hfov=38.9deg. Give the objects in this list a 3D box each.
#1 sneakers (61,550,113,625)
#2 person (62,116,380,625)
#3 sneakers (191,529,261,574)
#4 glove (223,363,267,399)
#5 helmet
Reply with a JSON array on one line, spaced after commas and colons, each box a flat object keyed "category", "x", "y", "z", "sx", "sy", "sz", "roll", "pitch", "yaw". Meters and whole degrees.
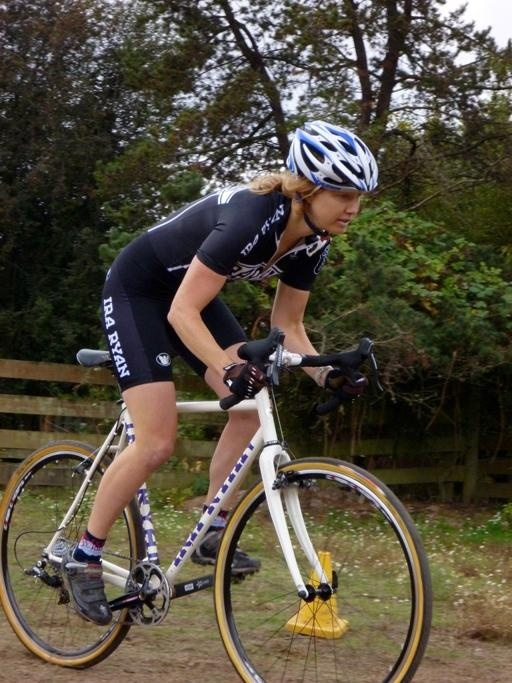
[{"category": "sneakers", "x": -0.632, "y": 0.900, "z": 2.712, "sx": 0.122, "sy": 0.127, "sz": 0.315, "roll": 7, "pitch": 25, "yaw": -48}, {"category": "person", "x": -0.091, "y": 0.118, "z": 2.671, "sx": 1.172, "sy": 1.600, "sz": 0.798, "roll": 1, "pitch": 4, "yaw": 9}, {"category": "sneakers", "x": -0.109, "y": 0.757, "z": 2.638, "sx": 0.320, "sy": 0.140, "sz": 0.114, "roll": -6, "pitch": -8, "yaw": 41}, {"category": "glove", "x": -0.040, "y": 0.122, "z": 2.248, "sx": 0.134, "sy": 0.056, "sz": 0.097, "roll": -21, "pitch": -41, "yaw": 35}, {"category": "helmet", "x": 0.230, "y": -0.593, "z": 2.389, "sx": 0.224, "sy": 0.129, "sz": 0.288, "roll": -10, "pitch": 40, "yaw": -33}]
